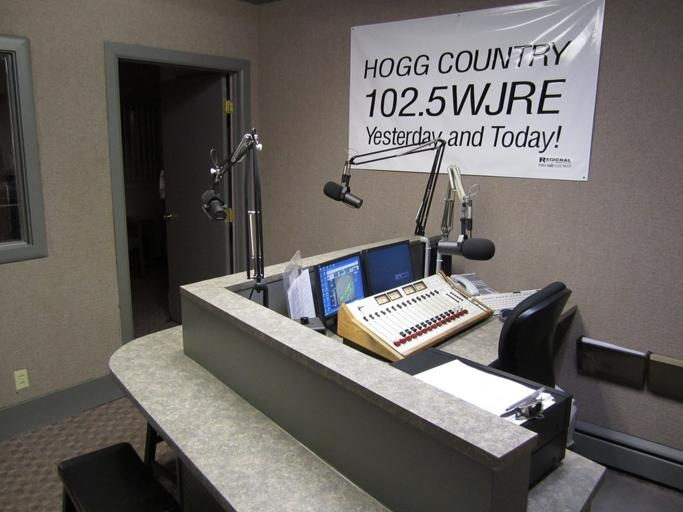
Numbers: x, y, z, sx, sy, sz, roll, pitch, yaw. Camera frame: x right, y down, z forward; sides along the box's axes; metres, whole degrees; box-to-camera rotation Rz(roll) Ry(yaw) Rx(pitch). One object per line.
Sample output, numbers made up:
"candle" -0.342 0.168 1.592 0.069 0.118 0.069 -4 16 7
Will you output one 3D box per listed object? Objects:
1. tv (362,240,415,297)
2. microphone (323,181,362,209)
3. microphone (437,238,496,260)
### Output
"tv" 0.301 0.091 2.995 0.017 0.302 0.395 -5 -8 -39
"microphone" 0.022 -0.346 2.903 0.207 0.147 0.249 1 14 10
"microphone" 0.673 -0.048 2.885 0.112 0.140 0.468 -8 4 -18
